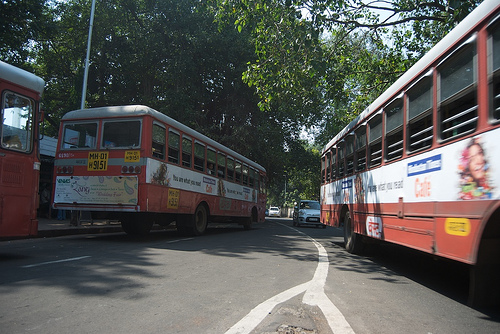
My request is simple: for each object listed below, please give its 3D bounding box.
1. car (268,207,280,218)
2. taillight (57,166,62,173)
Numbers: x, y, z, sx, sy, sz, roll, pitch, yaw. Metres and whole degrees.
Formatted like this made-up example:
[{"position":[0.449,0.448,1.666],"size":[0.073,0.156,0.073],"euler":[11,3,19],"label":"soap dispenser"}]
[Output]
[{"position":[4.631,8.836,65.191],"size":[1.885,2.182,4.770],"euler":[2,-11,0],"label":"car"},{"position":[-6.969,0.118,12.288],"size":[0.188,0.235,0.022],"euler":[-1,-8,16],"label":"taillight"}]
